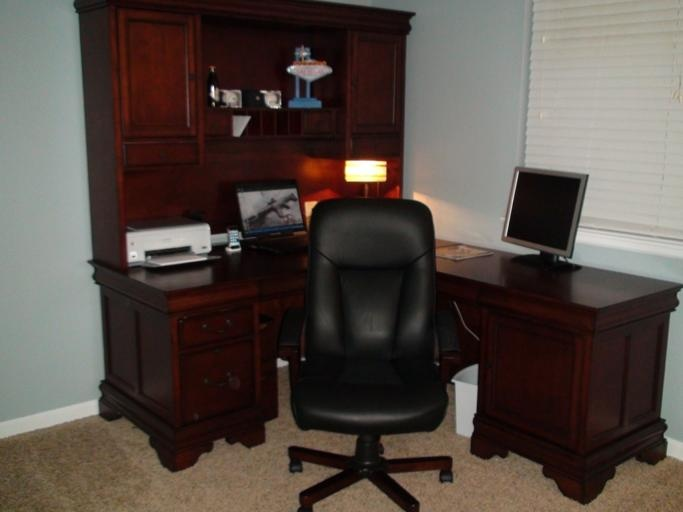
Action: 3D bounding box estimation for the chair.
[{"bbox_3d":[0.117,0.250,2.707,0.848,0.883,0.816,-3,20,-8],"label":"chair"}]

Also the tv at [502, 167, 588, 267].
[{"bbox_3d":[1.204,-0.224,3.263,0.203,0.543,0.506,-6,12,-29],"label":"tv"}]
